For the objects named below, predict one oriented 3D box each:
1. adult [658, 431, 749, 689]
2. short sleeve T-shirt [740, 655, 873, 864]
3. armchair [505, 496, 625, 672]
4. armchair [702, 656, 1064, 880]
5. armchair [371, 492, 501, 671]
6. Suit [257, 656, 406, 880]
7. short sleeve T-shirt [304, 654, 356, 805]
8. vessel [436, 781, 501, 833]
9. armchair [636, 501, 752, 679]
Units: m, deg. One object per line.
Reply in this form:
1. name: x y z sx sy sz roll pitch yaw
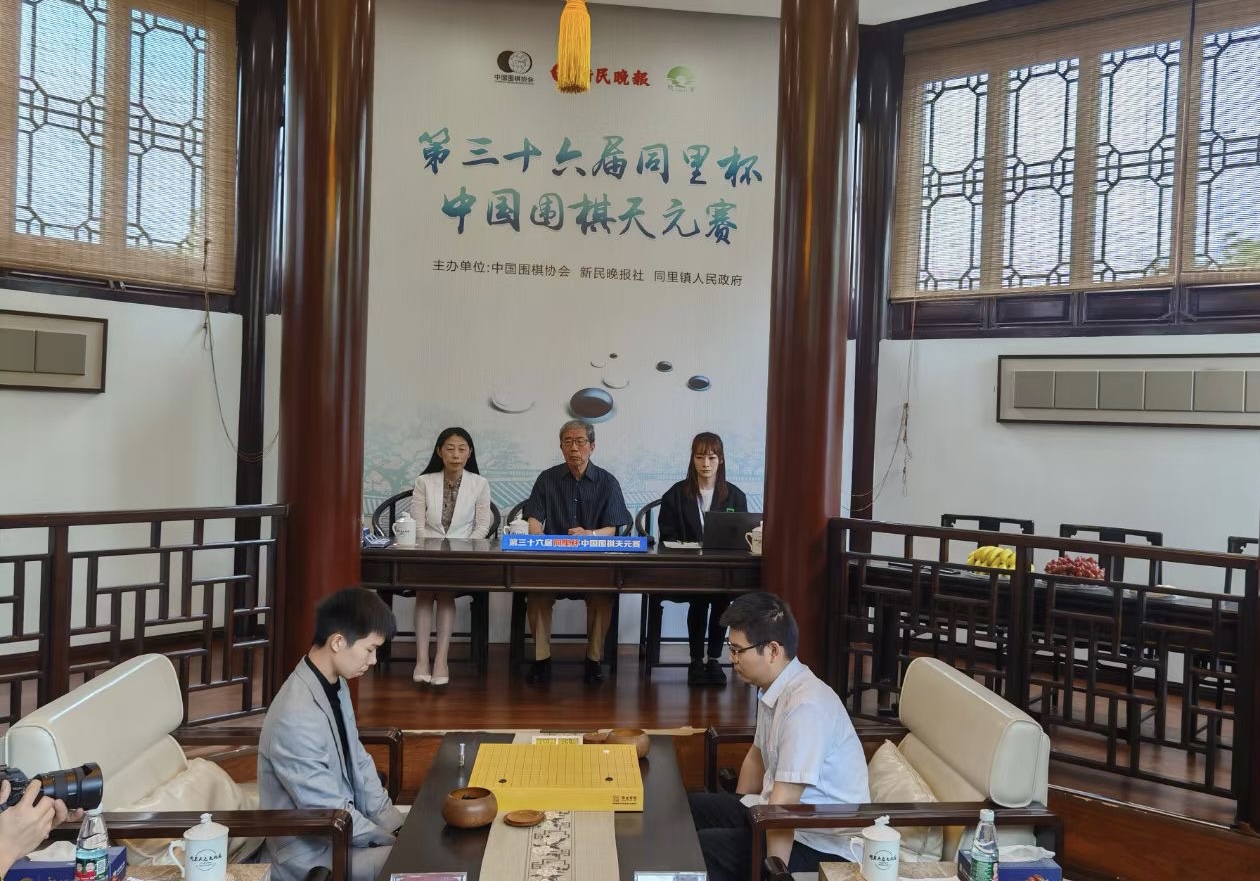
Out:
1. adult: 0.466 0.786 6.396 0.567 1.681 0.513 2 13 12
2. short sleeve T-shirt: 0.669 1.184 3.720 0.371 0.682 0.519 -6 2 -15
3. armchair: -0.553 0.999 6.218 0.882 1.218 0.875 2 -21 -2
4. armchair: 1.142 1.157 3.743 0.672 0.764 1.011 0 -2 -2
5. armchair: -1.308 0.890 6.431 0.844 1.197 0.847 1 -4 15
6. Suit: -1.075 1.183 3.934 0.645 0.989 0.690 0 -1 -11
7. short sleeve T-shirt: -1.067 1.048 3.595 0.262 0.391 0.397 1 -27 -18
8. vessel: -0.540 1.235 3.311 0.133 0.072 0.127 -1 2 -26
9. armchair: 0.383 0.924 6.481 0.714 1.173 0.766 -1 2 26
